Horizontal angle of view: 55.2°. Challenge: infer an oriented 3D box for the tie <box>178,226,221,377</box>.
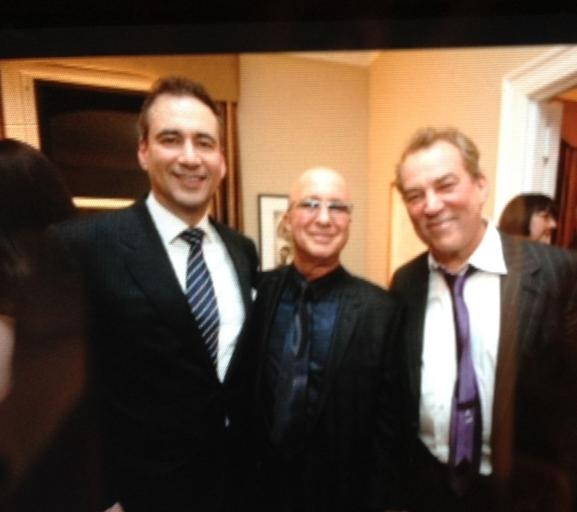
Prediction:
[{"bbox_3d":[-0.255,0.120,1.582,0.107,0.420,0.031,5,-36,-29],"label":"tie"}]
